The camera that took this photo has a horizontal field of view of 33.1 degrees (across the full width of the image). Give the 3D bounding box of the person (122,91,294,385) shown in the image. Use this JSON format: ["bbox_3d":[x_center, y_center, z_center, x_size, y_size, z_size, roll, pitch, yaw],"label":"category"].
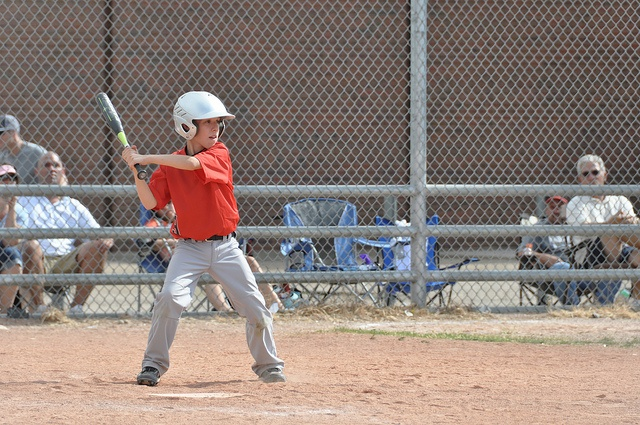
[{"bbox_3d":[-1.082,0.227,9.894,1.480,2.703,0.922,1,-1,3],"label":"person"}]

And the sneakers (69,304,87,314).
[{"bbox_3d":[-2.606,1.025,11.413,0.134,0.133,0.082,1,-12,25],"label":"sneakers"}]

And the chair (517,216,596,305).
[{"bbox_3d":[2.593,0.531,11.944,0.946,1.222,0.832,-4,-7,35],"label":"chair"}]

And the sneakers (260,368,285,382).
[{"bbox_3d":[-0.451,1.489,9.910,0.220,0.093,0.101,2,-5,12],"label":"sneakers"}]

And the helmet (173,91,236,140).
[{"bbox_3d":[-1.133,-0.870,9.974,0.548,0.411,0.523,2,-3,-22],"label":"helmet"}]

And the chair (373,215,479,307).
[{"bbox_3d":[1.189,0.787,11.896,0.739,0.772,0.727,-17,-10,-23],"label":"chair"}]

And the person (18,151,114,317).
[{"bbox_3d":[-2.763,0.206,11.586,1.043,1.730,0.624,-1,-3,18],"label":"person"}]

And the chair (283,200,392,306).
[{"bbox_3d":[0.074,0.467,11.821,1.225,1.269,1.124,-5,6,0],"label":"chair"}]

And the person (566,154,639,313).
[{"bbox_3d":[3.147,0.203,11.882,0.810,1.701,0.506,0,-3,-4],"label":"person"}]

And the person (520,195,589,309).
[{"bbox_3d":[2.593,0.441,12.050,0.791,1.268,0.695,2,3,12],"label":"person"}]

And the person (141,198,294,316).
[{"bbox_3d":[-1.037,0.507,11.546,0.868,1.299,1.001,-13,-14,43],"label":"person"}]
